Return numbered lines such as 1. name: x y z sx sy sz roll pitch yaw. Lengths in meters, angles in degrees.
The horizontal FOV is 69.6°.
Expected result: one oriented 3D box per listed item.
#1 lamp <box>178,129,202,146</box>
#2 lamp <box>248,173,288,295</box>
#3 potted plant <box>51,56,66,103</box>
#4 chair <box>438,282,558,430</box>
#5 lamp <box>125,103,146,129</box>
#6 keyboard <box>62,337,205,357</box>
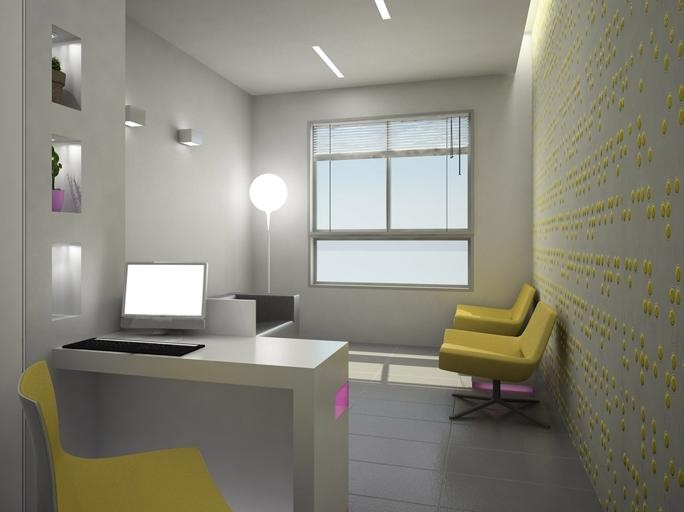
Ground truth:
1. lamp: -1.760 -1.356 5.683 0.126 0.166 0.283 2 0 -8
2. lamp: -1.023 -0.293 6.875 0.531 1.761 1.140 1 6 -9
3. potted plant: -1.793 -1.101 3.116 0.073 0.290 0.199 -1 7 -29
4. chair: 1.373 0.904 4.668 0.952 1.246 1.002 -2 -2 11
5. lamp: -2.064 -1.379 4.905 0.168 0.183 0.345 -1 7 -25
6. keyboard: -1.273 0.547 3.008 0.853 0.059 0.272 4 6 14
